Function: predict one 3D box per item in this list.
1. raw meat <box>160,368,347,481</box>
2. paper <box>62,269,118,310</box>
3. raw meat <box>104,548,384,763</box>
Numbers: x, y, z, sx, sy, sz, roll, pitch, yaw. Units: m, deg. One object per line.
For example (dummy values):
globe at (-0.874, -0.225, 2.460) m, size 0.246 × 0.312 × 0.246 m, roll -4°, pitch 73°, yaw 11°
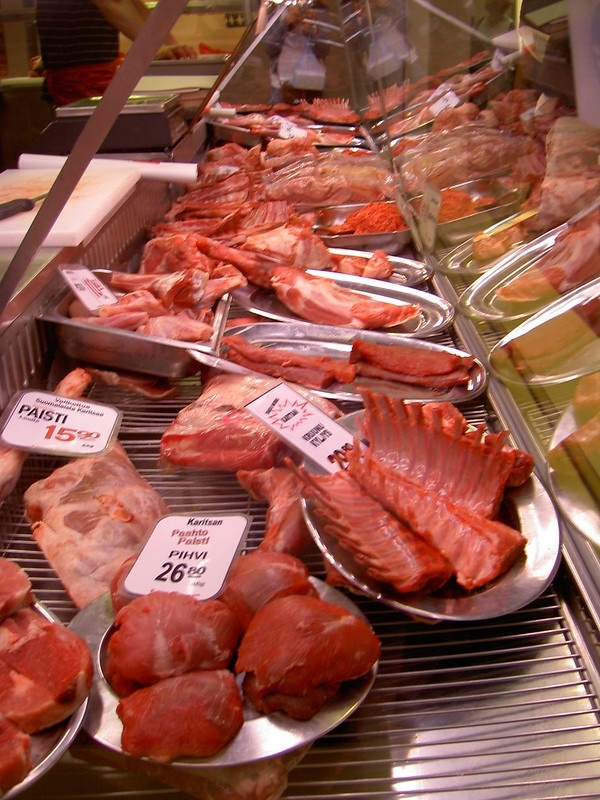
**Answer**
raw meat at (-0.119, 0.071, 1.101) m, size 0.253 × 0.086 × 0.236 m, roll 16°, pitch 49°, yaw 12°
paper at (-0.539, -0.286, 1.424) m, size 0.154 × 0.041 × 0.112 m, roll 47°, pitch 29°, yaw 12°
raw meat at (-0.066, 0.270, 0.606) m, size 0.222 × 0.065 × 0.166 m, roll -15°, pitch 39°, yaw -20°
